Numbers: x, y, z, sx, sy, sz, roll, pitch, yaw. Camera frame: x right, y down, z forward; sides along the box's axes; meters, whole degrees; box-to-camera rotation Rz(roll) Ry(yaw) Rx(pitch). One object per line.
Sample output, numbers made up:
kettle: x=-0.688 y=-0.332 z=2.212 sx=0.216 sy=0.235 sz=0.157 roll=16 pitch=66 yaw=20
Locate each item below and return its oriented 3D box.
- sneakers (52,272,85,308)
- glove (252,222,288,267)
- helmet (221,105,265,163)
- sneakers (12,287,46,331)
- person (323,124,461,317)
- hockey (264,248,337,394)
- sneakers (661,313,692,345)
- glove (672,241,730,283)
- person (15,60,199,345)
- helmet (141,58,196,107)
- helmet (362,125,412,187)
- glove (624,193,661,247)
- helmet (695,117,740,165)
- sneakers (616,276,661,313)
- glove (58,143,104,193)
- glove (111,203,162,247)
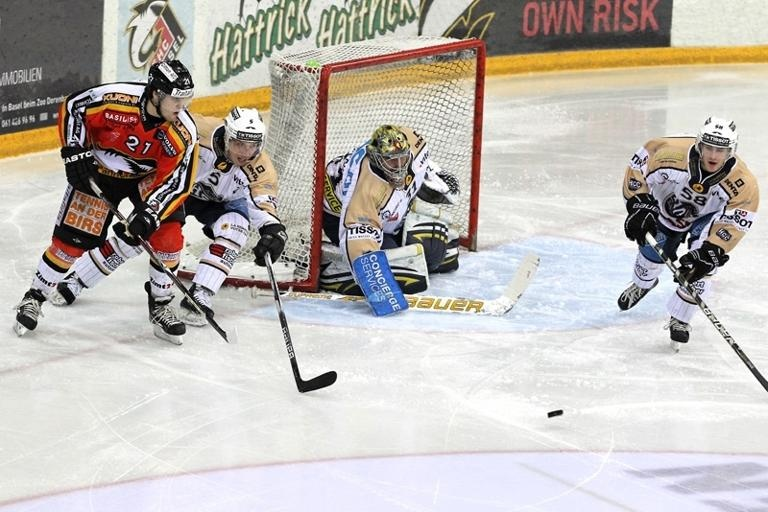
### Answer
sneakers: x=-1.747 y=0.169 z=4.529 sx=0.150 sy=0.093 sz=0.298 roll=-20 pitch=18 yaw=-4
glove: x=-0.585 y=-0.069 z=4.346 sx=0.122 sy=0.214 sz=0.175 roll=-3 pitch=-21 yaw=28
helmet: x=-0.752 y=-0.646 z=4.358 sx=0.209 sy=0.309 sz=0.209 roll=-4 pitch=17 yaw=-10
sneakers: x=-1.848 y=0.269 z=4.279 sx=0.125 sy=0.123 sz=0.261 roll=21 pitch=20 yaw=-27
person: x=0.024 y=-0.183 z=4.919 sx=0.824 sy=0.951 sz=0.751 roll=-35 pitch=61 yaw=-20
hockey: x=-0.484 y=0.273 z=4.168 sx=0.214 sy=0.066 sz=1.028 roll=-9 pitch=46 yaw=-20
sneakers: x=1.585 y=0.400 z=4.407 sx=0.086 sy=0.076 sz=0.204 roll=-3 pitch=8 yaw=0
glove: x=1.690 y=0.032 z=4.316 sx=0.237 sy=0.240 sz=0.151 roll=4 pitch=17 yaw=18
person: x=-1.417 y=-0.271 z=4.196 sx=0.964 sy=1.445 sz=0.458 roll=-4 pitch=17 yaw=-8
helmet: x=-1.066 y=-0.859 z=4.008 sx=0.271 sy=0.202 sz=0.191 roll=27 pitch=31 yaw=15
helmet: x=0.024 y=-0.583 z=4.704 sx=0.258 sy=0.364 sz=0.188 roll=-1 pitch=17 yaw=0
glove: x=1.445 y=-0.218 z=4.474 sx=0.233 sy=0.117 sz=0.286 roll=6 pitch=42 yaw=29
helmet: x=1.739 y=-0.639 z=4.295 sx=0.226 sy=0.220 sz=0.232 roll=11 pitch=47 yaw=10
sneakers: x=1.419 y=0.232 z=4.772 sx=0.347 sy=0.108 sz=0.141 roll=-37 pitch=-7 yaw=5
glove: x=-1.521 y=-0.454 z=4.018 sx=0.202 sy=0.207 sz=0.064 roll=-3 pitch=8 yaw=2
glove: x=-1.217 y=-0.153 z=4.094 sx=0.101 sy=0.216 sz=0.217 roll=34 pitch=12 yaw=-28
